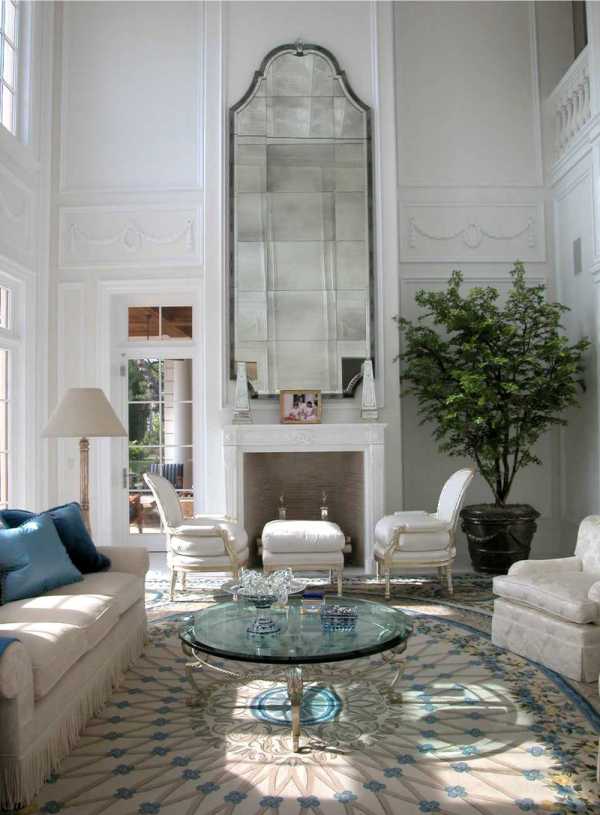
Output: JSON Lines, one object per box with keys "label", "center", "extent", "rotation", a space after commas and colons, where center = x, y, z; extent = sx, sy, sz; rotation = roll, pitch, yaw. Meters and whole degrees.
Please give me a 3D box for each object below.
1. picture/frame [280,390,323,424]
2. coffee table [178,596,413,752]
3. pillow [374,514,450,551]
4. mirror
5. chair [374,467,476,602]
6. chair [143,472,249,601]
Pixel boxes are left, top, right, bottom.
{"label": "picture/frame", "center": [0.011, 0.009, 6.168], "extent": [0.301, 0.245, 0.019], "rotation": [0, -19, -3]}
{"label": "coffee table", "center": [-0.017, 1.103, 3.266], "extent": [1.045, 0.467, 1.041], "rotation": [-1, 0, 3]}
{"label": "pillow", "center": [0.826, 0.910, 5.264], "extent": [0.468, 0.230, 0.507], "rotation": [-1, 0, -5]}
{"label": "mirror", "center": [0.010, -1.654, 6.391], "extent": [1.267, 2.462, 0.294], "rotation": [-1, 0, 5]}
{"label": "chair", "center": [0.890, 0.894, 5.332], "extent": [0.690, 0.820, 0.653], "rotation": [0, 0, 6]}
{"label": "chair", "center": [-0.716, 0.861, 5.186], "extent": [0.759, 0.739, 0.612], "rotation": [0, 0, 12]}
